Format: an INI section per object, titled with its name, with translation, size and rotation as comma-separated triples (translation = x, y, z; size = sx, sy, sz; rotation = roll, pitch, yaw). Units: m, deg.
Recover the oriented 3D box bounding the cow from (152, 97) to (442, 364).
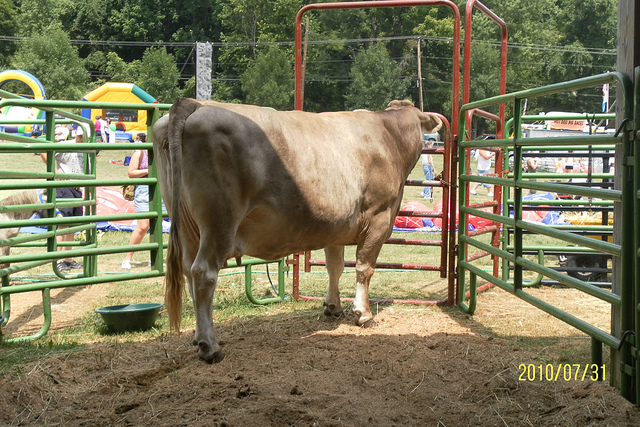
[cow]
translation = -0.350, 0.317, 10.517
size = 3.633, 2.567, 1.317
rotation = -3, 3, -39
